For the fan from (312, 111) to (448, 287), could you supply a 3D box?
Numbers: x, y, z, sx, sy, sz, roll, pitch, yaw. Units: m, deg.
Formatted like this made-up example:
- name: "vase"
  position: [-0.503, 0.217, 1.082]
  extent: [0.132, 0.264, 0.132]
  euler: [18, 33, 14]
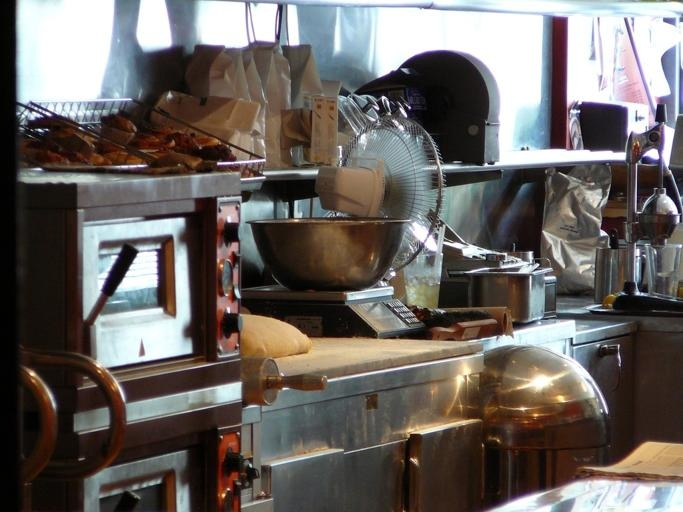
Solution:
- name: "fan"
  position: [0.078, -0.215, 2.464]
  extent: [0.312, 0.531, 0.438]
  euler: [13, 17, 43]

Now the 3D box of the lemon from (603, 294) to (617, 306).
- name: "lemon"
  position: [1.198, 0.200, 3.388]
  extent: [0.055, 0.055, 0.038]
  euler: [19, -10, -42]

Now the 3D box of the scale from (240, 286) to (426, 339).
- name: "scale"
  position: [-0.021, 0.179, 2.395]
  extent: [0.493, 0.142, 0.394]
  euler: [1, 0, 32]

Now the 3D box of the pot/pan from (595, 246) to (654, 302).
- name: "pot/pan"
  position: [1.293, 0.076, 3.508]
  extent: [0.217, 0.275, 0.217]
  euler: [1, -2, -42]
